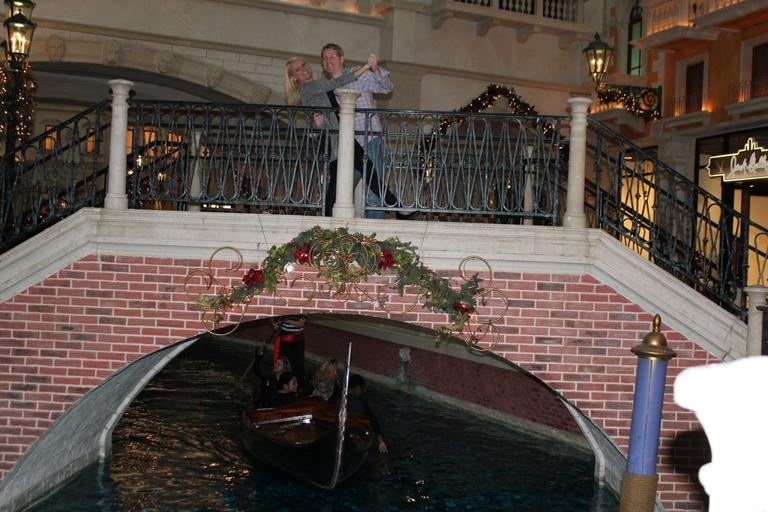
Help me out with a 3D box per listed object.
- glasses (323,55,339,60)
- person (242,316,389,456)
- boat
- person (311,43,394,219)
[{"bbox_3d":[-0.736,-2.804,14.670,0.231,0.074,0.089,0,8,-5],"label":"glasses"},{"bbox_3d":[-1.326,1.842,18.658,1.138,1.300,3.793,-3,12,-30],"label":"person"},{"bbox_3d":[-1.219,2.910,16.593,1.137,1.247,2.029,-6,10,-40],"label":"boat"},{"bbox_3d":[-0.356,-1.777,14.789,1.041,2.397,0.877,0,8,-4],"label":"person"}]
